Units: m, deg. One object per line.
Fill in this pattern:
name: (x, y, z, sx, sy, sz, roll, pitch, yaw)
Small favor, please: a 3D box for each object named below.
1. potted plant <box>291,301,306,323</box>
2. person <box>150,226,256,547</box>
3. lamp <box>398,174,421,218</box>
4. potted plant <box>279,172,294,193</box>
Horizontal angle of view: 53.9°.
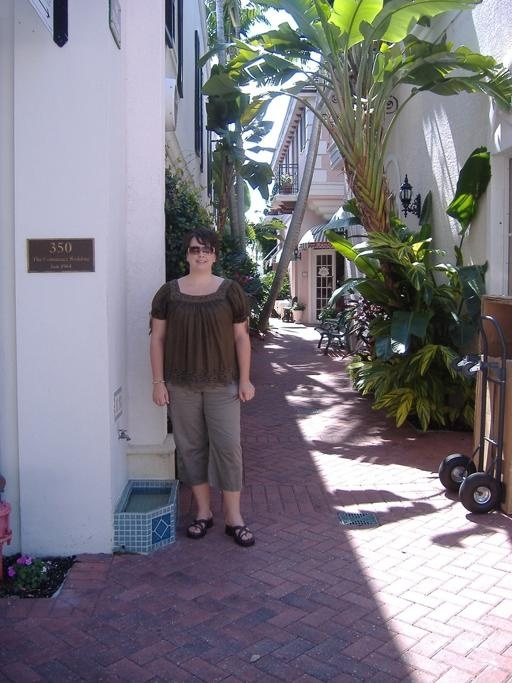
potted plant: (1.970, -1.420, 24.336, 0.356, 1.016, 0.900, -4, 6, -23)
person: (-0.324, 0.278, 3.047, 0.612, 1.885, 0.294, -1, 5, 5)
lamp: (2.626, -2.415, 8.504, 0.343, 0.714, 0.817, 0, 6, 18)
potted plant: (1.398, -7.457, 23.665, 0.761, 0.827, 0.757, -1, 2, -3)
